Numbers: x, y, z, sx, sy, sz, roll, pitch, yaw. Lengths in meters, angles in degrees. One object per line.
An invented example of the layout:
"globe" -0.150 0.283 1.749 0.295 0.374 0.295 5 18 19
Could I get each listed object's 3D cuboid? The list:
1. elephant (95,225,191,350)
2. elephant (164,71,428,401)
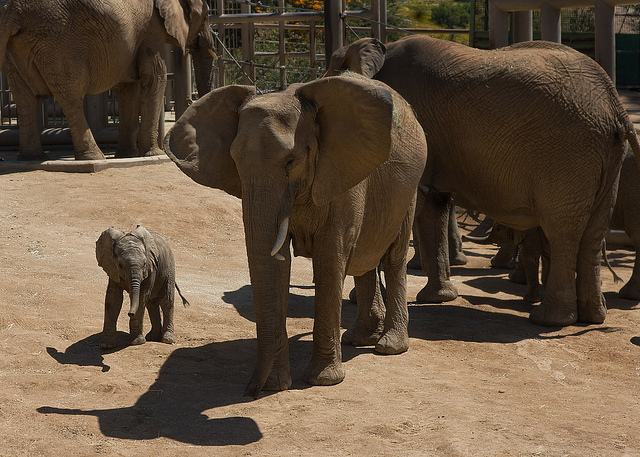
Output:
"elephant" -1.944 0.635 11.085 0.688 1.266 2.174 0 -4 9
"elephant" -0.005 -0.029 10.913 2.656 3.181 3.460 3 5 28
